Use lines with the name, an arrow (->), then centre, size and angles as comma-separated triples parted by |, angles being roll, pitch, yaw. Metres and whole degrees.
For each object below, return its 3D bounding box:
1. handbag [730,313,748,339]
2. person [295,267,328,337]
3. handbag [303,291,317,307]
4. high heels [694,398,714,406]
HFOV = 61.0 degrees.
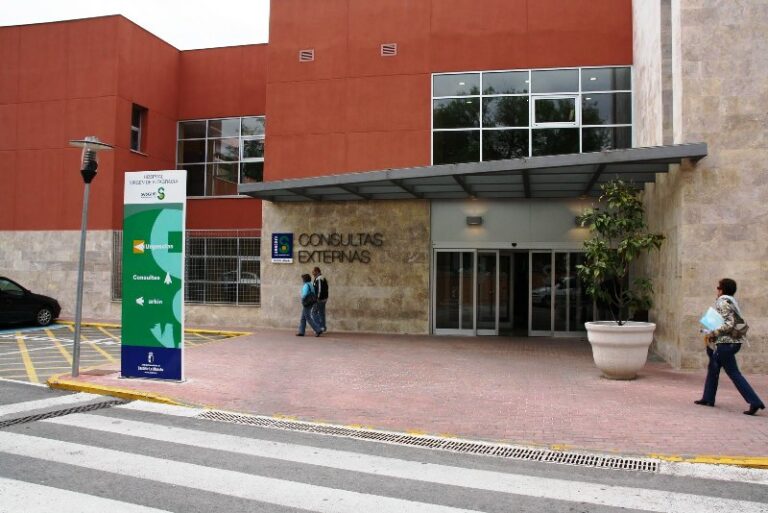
handbag -> 7.091, 1.457, 13.015 | 0.281, 0.527, 0.403 | 7, -4, -2
person -> -2.414, 1.622, 21.526 | 0.961, 2.221, 0.892 | -2, 8, -13
handbag -> -2.417, 1.481, 21.099 | 0.487, 0.473, 0.348 | 0, -7, 12
high heels -> 6.515, 2.957, 13.372 | 0.313, 0.129, 0.116 | 10, 1, 29
